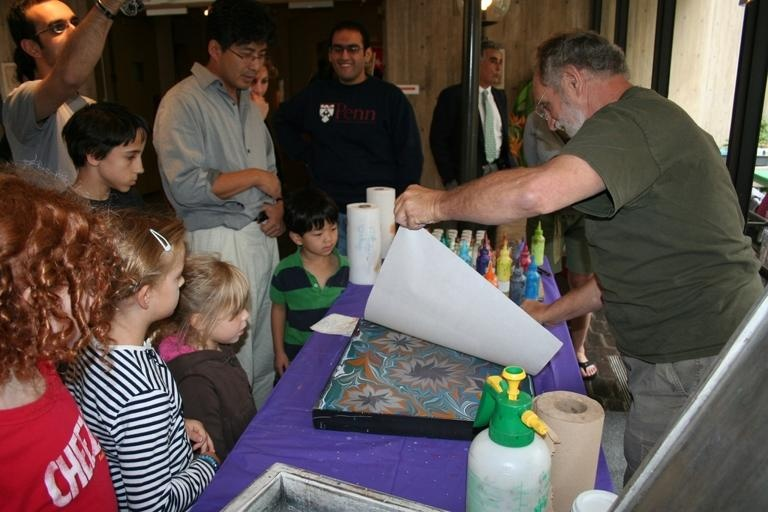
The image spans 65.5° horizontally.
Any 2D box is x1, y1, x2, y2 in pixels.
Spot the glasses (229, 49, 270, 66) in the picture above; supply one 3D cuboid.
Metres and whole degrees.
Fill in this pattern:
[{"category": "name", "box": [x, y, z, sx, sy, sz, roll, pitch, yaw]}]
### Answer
[{"category": "glasses", "box": [-0.619, -0.947, 2.816, 0.098, 0.070, 0.233, 6, 19, 23]}]
